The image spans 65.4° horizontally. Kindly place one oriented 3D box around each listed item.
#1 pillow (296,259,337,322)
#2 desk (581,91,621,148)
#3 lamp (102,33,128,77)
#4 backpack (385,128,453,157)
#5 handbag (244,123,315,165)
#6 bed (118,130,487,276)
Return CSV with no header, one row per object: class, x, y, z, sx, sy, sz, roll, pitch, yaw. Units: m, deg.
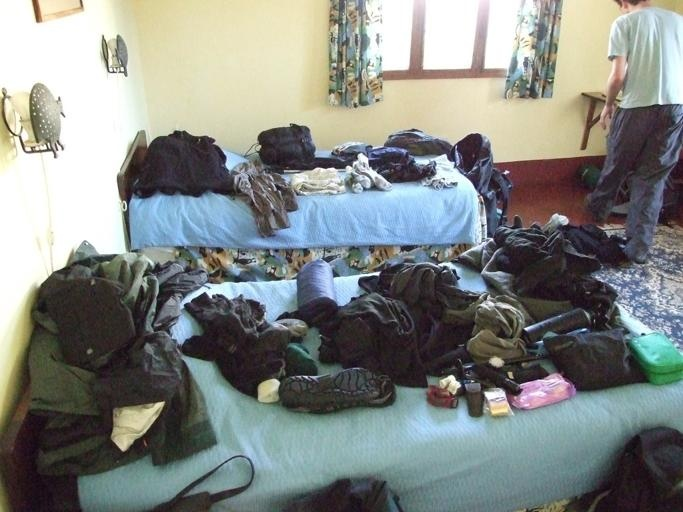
pillow,-0.131,0.179,2.814,0.209,0.201,0.587,10,22,-11
desk,2.398,-1.322,5.085,0.402,0.406,0.422,2,40,4
lamp,-1.437,-1.250,3.306,0.089,0.266,0.198,3,10,18
backpack,0.624,-0.900,4.264,0.386,0.149,0.282,-4,22,-15
handbag,-0.446,-0.887,4.206,0.437,0.318,0.380,-16,21,-27
bed,-0.241,-0.367,3.604,1.682,0.695,1.096,-6,49,-4
